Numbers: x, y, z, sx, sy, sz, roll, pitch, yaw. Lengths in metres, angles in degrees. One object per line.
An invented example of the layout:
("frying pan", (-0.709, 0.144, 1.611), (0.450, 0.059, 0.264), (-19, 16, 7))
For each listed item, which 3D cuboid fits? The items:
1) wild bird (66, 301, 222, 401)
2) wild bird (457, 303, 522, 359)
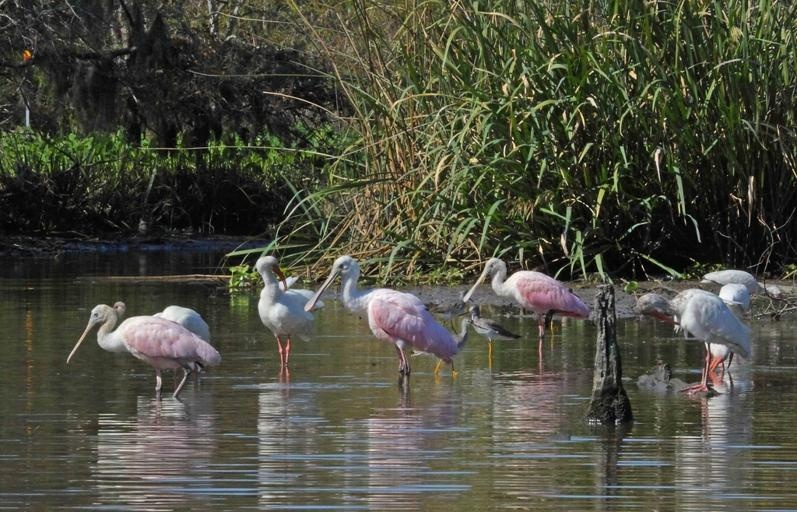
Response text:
("wild bird", (-2.592, 1.016, 12.140), (1.601, 0.833, 0.542), (6, 10, 42))
("wild bird", (0.951, 0.885, 14.496), (0.959, 0.726, 0.377), (4, -3, -13))
